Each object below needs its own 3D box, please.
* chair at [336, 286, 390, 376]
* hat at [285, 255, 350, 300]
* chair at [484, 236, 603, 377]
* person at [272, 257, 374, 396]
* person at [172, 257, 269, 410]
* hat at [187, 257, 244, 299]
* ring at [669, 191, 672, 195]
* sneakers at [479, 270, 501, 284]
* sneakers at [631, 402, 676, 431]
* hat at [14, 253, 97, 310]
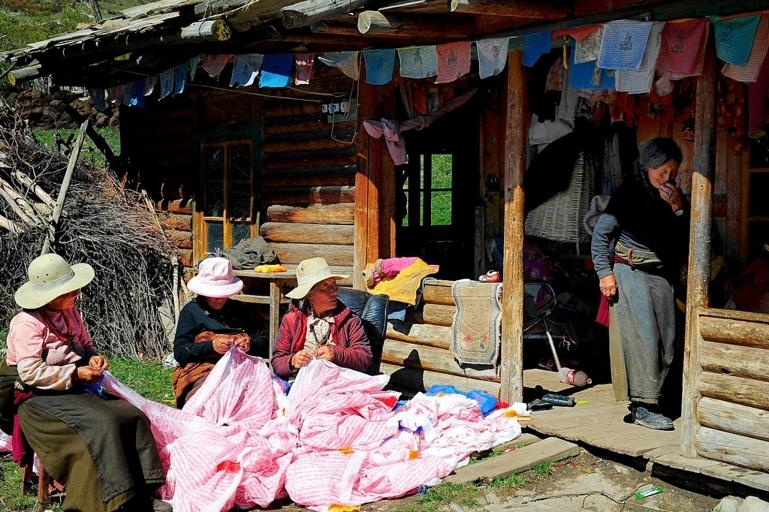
[{"bbox_3d":[-0.284,0.793,7.926,0.670,0.767,0.747,2,15,19],"label":"chair"},{"bbox_3d":[-0.692,0.217,7.183,0.432,0.234,0.441,-28,-9,11],"label":"hat"},{"bbox_3d":[2.021,0.610,10.028,1.670,2.194,1.590,1,4,-37],"label":"chair"},{"bbox_3d":[-0.606,0.756,7.427,1.015,1.545,0.868,-6,-13,-23],"label":"person"},{"bbox_3d":[-1.649,0.747,7.217,0.925,1.429,0.766,-2,8,-13],"label":"person"},{"bbox_3d":[-1.673,0.229,7.196,0.403,0.237,0.441,1,2,-7],"label":"hat"},{"bbox_3d":[2.881,-0.632,7.322,0.024,0.036,0.008,2,18,-25],"label":"ring"},{"bbox_3d":[1.200,0.242,8.365,0.187,0.092,0.142,-1,4,29],"label":"sneakers"},{"bbox_3d":[2.703,1.621,7.408,0.185,0.213,0.441,-14,11,-38],"label":"sneakers"},{"bbox_3d":[-2.898,0.218,6.370,0.519,0.250,0.562,6,38,48],"label":"hat"}]
